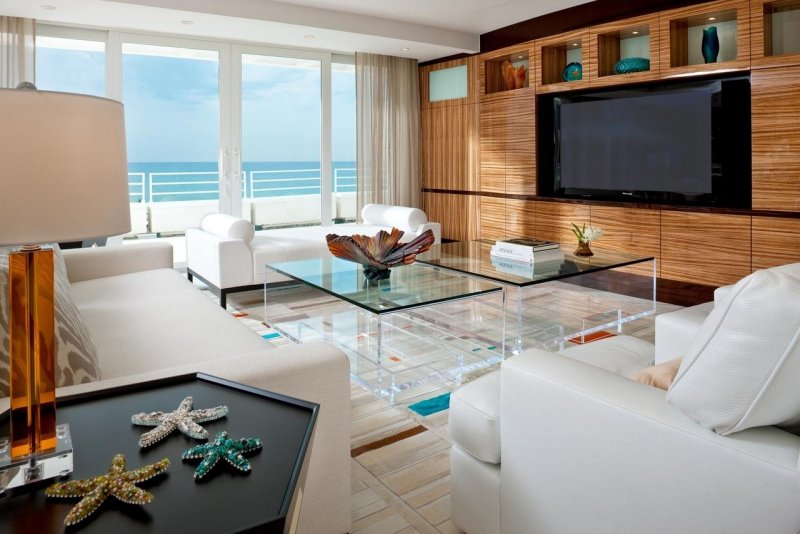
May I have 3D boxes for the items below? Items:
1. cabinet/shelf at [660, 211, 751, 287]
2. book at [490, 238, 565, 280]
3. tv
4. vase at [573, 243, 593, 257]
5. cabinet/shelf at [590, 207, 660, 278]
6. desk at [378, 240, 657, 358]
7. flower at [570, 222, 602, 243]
[{"bbox_3d":[2.947,-0.179,4.803,0.373,0.663,0.763,-4,6,-36],"label":"cabinet/shelf"},{"bbox_3d":[0.977,-0.060,3.997,0.355,0.218,0.488,-4,6,-32],"label":"book"},{"bbox_3d":[2.568,-1.301,5.304,0.147,0.926,1.691,-7,9,-35],"label":"tv"},{"bbox_3d":[1.592,-0.130,4.348,0.136,0.117,0.137,6,14,40],"label":"vase"},{"bbox_3d":[2.331,-0.258,5.148,0.258,0.676,0.771,-5,8,-35],"label":"cabinet/shelf"},{"bbox_3d":[1.325,0.243,4.012,1.461,0.637,1.365,-9,12,-37],"label":"desk"},{"bbox_3d":[1.895,-0.340,5.086,0.277,0.160,0.271,14,6,37],"label":"flower"}]
